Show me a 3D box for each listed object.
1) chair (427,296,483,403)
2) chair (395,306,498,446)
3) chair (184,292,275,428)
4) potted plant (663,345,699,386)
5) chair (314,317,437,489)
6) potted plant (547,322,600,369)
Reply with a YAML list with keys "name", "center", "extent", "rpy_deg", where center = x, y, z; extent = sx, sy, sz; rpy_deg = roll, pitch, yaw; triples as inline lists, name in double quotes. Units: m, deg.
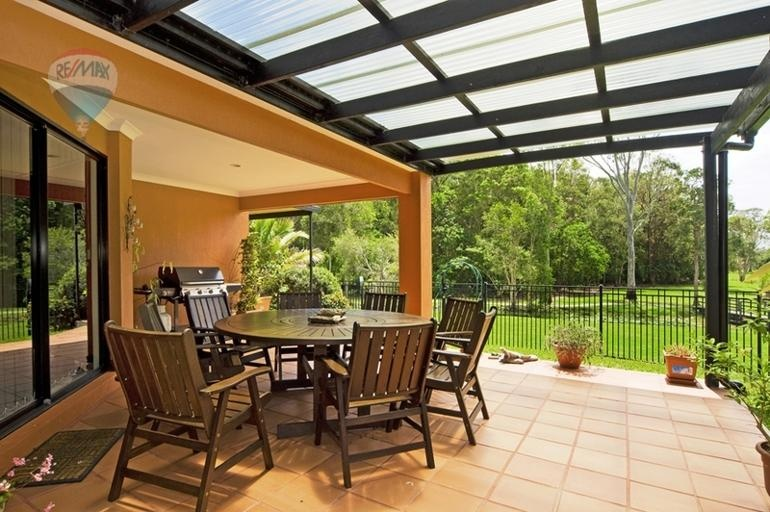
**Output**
- name: "chair"
  center: [0.811, 0.874, 5.538]
  extent: [0.596, 0.634, 0.580]
  rpy_deg: [0, 15, -9]
- name: "chair"
  center: [0.617, 1.261, 5.375]
  extent: [1.250, 1.582, 1.240]
  rpy_deg: [0, -6, 24]
- name: "chair"
  center: [-1.990, 1.079, 6.015]
  extent: [1.045, 1.185, 1.108]
  rpy_deg: [2, 1, -40]
- name: "potted plant"
  center: [3.924, 1.465, 6.156]
  extent: [0.370, 0.399, 0.395]
  rpy_deg: [8, -6, -40]
- name: "chair"
  center: [-0.118, 1.283, 4.457]
  extent: [1.038, 1.261, 0.973]
  rpy_deg: [3, -3, -30]
- name: "potted plant"
  center: [2.694, 1.299, 6.833]
  extent: [0.546, 0.622, 0.645]
  rpy_deg: [7, -11, -21]
